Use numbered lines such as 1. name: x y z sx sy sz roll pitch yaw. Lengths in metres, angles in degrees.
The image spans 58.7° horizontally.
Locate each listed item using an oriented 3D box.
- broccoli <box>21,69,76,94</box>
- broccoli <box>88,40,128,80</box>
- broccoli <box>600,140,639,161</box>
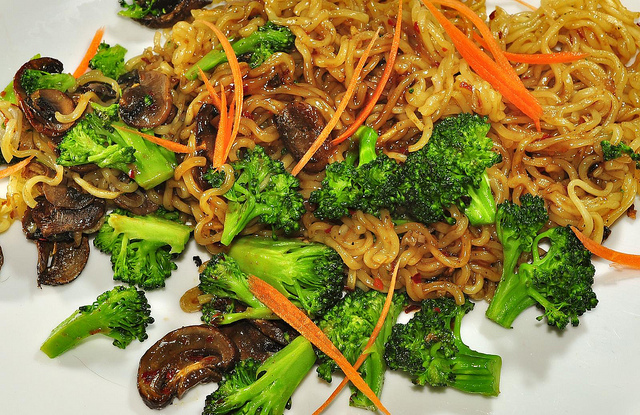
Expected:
1. broccoli: -2.549 -1.173 5.320 0.331 0.145 0.230 1 54 -12
2. broccoli: -2.061 -1.408 5.582 0.414 0.380 0.106 22 22 23
3. broccoli: 2.670 -0.504 5.083 0.251 0.173 0.104 -1 -14 -7
